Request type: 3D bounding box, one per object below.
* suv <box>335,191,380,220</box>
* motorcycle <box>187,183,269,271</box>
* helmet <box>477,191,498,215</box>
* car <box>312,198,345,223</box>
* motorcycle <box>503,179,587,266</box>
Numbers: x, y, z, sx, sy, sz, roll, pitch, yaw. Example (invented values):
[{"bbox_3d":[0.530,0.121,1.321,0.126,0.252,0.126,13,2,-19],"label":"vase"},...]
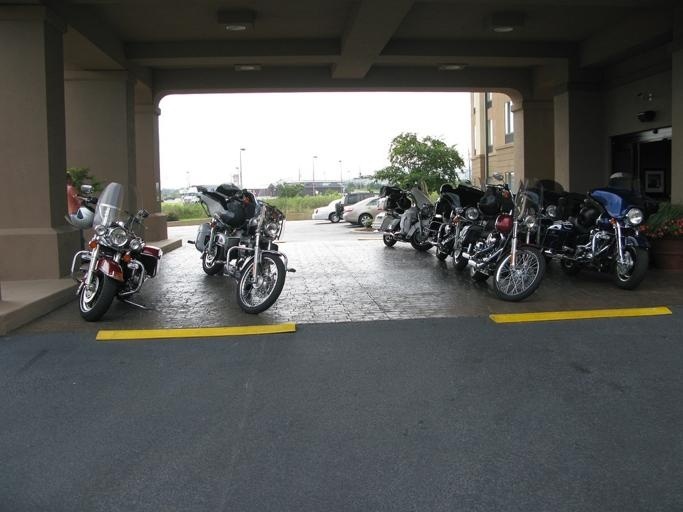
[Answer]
[{"bbox_3d":[0.765,-3.326,28.527,2.114,1.361,1.331,0,7,-2],"label":"suv"},{"bbox_3d":[-1.855,-0.426,7.947,1.066,1.344,2.118,19,-4,-28],"label":"motorcycle"},{"bbox_3d":[2.643,-0.964,8.149,0.299,0.438,0.355,6,12,8],"label":"helmet"},{"bbox_3d":[-0.900,-3.044,30.411,2.201,1.143,1.231,0,5,0],"label":"car"},{"bbox_3d":[3.402,-0.647,7.539,1.007,1.450,2.064,-3,10,-12],"label":"motorcycle"}]
